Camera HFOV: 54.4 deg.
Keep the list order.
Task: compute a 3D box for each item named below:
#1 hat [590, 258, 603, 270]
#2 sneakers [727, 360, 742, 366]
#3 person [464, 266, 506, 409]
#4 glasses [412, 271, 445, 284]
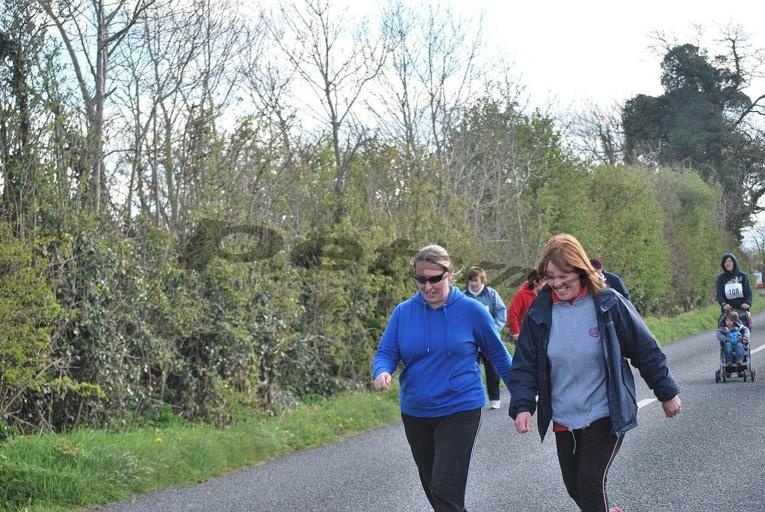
[{"bbox_3d":[2.277,0.085,7.897,0.125,0.109,0.135,-9,9,4],"label":"hat"},{"bbox_3d":[7.361,2.246,15.558,0.288,0.085,0.073,1,5,11],"label":"sneakers"},{"bbox_3d":[1.788,1.610,13.730,1.002,2.899,0.869,-3,15,10],"label":"person"},{"bbox_3d":[0.468,0.209,7.402,0.311,0.114,0.119,0,5,8],"label":"glasses"}]
